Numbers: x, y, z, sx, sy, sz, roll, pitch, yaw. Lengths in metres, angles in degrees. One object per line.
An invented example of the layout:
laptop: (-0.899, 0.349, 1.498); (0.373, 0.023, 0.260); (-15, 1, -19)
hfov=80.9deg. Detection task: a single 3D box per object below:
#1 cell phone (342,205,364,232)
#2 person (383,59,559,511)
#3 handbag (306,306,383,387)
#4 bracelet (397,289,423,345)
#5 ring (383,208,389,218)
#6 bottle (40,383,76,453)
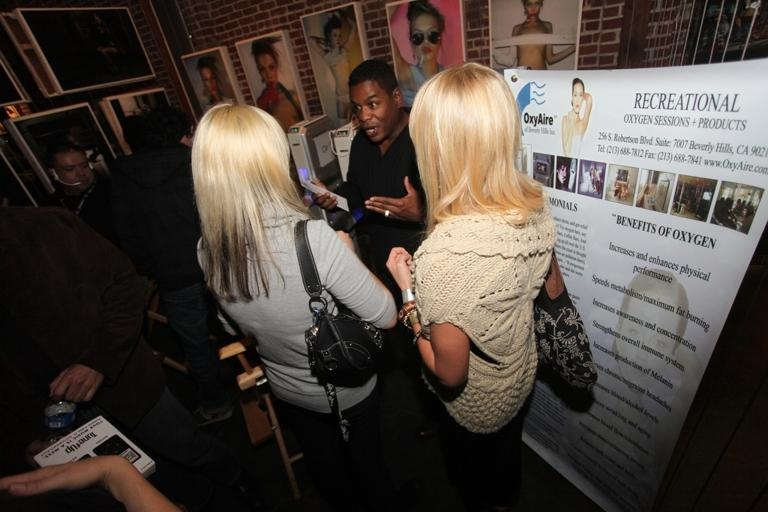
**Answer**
cell phone: (-0.205, -0.280, 3.498); (0.046, 0.169, 0.165); (19, 10, -15)
person: (0.468, 0.387, 2.320); (0.710, 2.528, 0.545); (-17, 26, -22)
handbag: (-0.180, 0.412, 2.205); (0.406, 0.305, 0.173); (27, 11, 12)
bracelet: (0.146, 0.298, 2.179); (0.096, 0.220, 0.185); (-4, 4, 34)
ring: (0.020, -0.291, 2.973); (0.037, 0.051, 0.017); (0, 2, 29)
bottle: (-1.460, 0.779, 2.059); (0.119, 0.159, 0.110); (13, 55, -19)
